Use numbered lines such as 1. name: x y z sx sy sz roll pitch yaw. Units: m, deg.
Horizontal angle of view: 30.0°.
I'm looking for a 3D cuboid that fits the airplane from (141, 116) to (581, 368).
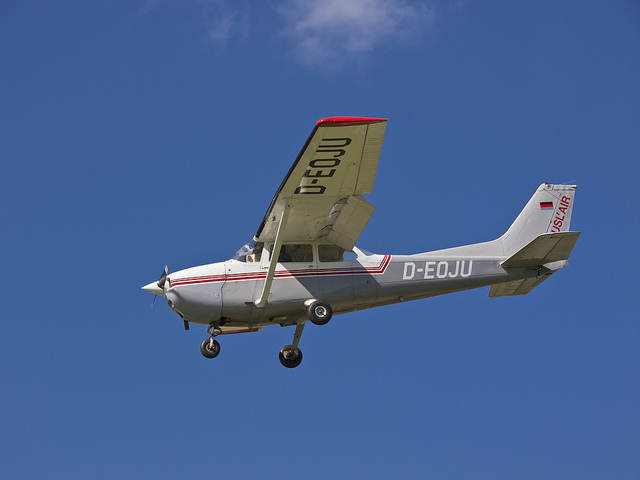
1. airplane: 0.723 0.175 25.630 6.611 2.232 7.671 1 -31 -6
